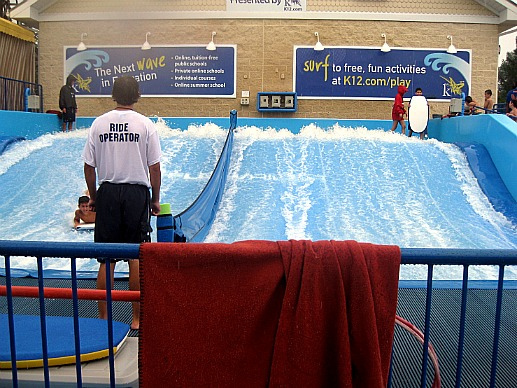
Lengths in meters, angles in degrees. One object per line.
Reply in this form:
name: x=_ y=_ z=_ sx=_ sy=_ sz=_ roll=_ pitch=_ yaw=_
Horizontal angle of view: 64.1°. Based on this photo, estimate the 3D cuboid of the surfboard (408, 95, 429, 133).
surfboard: x=4.093 y=-2.075 z=10.673 sx=0.462 sy=0.959 sz=0.404 roll=-2 pitch=7 yaw=22

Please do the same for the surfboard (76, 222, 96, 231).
surfboard: x=-2.339 y=0.438 z=5.554 sx=0.222 sy=0.082 sz=0.238 roll=-3 pitch=11 yaw=-5

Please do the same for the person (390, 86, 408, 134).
person: x=3.826 y=-2.285 z=11.347 sx=0.418 sy=1.286 sz=2.010 roll=-3 pitch=7 yaw=19

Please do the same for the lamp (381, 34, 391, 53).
lamp: x=3.813 y=-4.609 z=12.542 sx=0.259 sy=0.576 sz=0.387 roll=-2 pitch=7 yaw=27

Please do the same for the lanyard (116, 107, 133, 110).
lanyard: x=-1.042 y=-0.661 z=3.178 sx=0.116 sy=0.030 sz=0.042 roll=-7 pitch=7 yaw=-13

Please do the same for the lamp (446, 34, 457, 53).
lamp: x=5.852 y=-4.627 z=12.633 sx=0.268 sy=0.582 sz=0.392 roll=-1 pitch=8 yaw=34

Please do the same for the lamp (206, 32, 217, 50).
lamp: x=-1.446 y=-4.694 z=12.630 sx=0.239 sy=0.553 sz=0.388 roll=1 pitch=9 yaw=42

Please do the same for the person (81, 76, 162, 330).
person: x=-1.057 y=-0.268 z=3.190 sx=0.595 sy=1.287 sz=0.388 roll=-7 pitch=7 yaw=-17

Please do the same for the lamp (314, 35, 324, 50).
lamp: x=1.793 y=-4.635 z=12.571 sx=0.325 sy=0.467 sz=0.229 roll=-9 pitch=7 yaw=-29

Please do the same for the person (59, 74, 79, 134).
person: x=-5.058 y=-2.362 z=10.957 sx=0.430 sy=1.393 sz=1.269 roll=-8 pitch=7 yaw=-24
